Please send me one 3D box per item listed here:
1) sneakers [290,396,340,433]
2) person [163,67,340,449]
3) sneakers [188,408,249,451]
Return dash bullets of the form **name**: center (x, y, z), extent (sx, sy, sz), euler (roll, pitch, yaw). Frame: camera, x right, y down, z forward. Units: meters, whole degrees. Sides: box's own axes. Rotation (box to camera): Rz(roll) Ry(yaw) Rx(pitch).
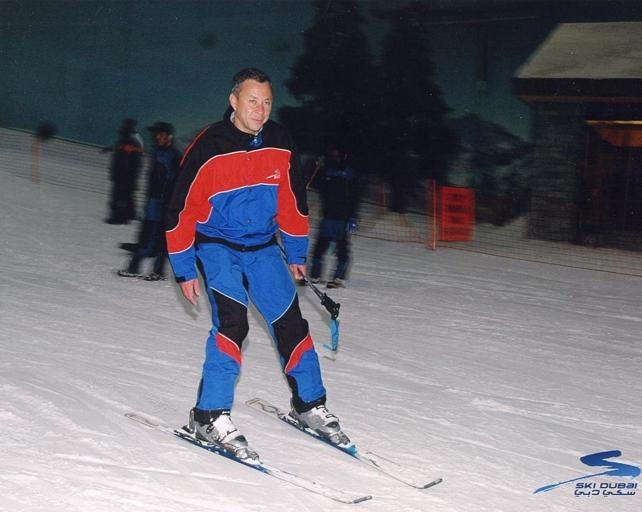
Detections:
- **sneakers**: center (-0.107, 1.045, 4.385), extent (0.462, 0.135, 0.146), euler (14, 23, 29)
- **person**: center (-0.395, 0.031, 4.074), extent (1.078, 2.330, 0.691), euler (3, 16, -20)
- **sneakers**: center (-0.643, 1.065, 4.122), extent (0.525, 0.148, 0.168), euler (8, 6, 29)
